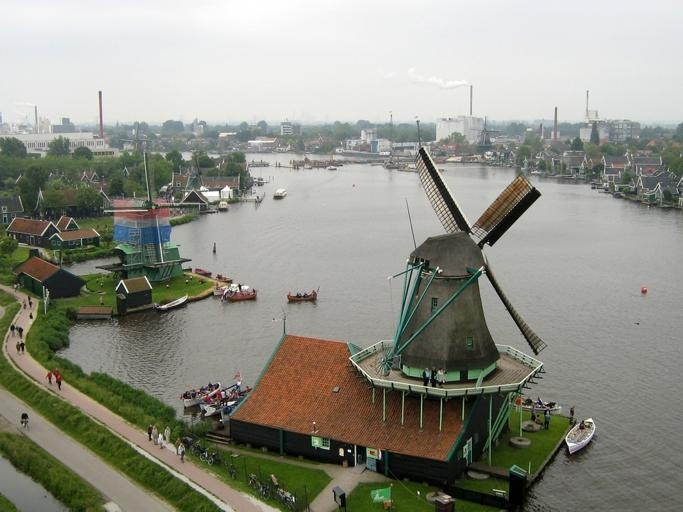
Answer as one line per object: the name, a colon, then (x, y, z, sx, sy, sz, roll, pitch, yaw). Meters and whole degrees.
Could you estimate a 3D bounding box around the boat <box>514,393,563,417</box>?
boat: (13.669, 10.352, 54.101, 2.472, 1.003, 1.489, 5, 18, 7)

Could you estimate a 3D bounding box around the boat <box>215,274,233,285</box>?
boat: (-12.768, 2.648, 85.245, 1.480, 0.609, 1.101, 11, 8, 22)

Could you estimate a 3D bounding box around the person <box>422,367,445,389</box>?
person: (5.580, 7.372, 47.374, 2.403, 0.949, 1.354, 5, -13, 14)

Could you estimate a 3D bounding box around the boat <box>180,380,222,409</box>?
boat: (-9.925, 9.878, 56.498, 1.250, 0.948, 2.995, 24, 29, 27)

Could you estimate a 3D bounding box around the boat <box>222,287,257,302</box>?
boat: (-10.182, 4.036, 79.282, 2.575, 1.092, 1.470, -1, 11, 2)

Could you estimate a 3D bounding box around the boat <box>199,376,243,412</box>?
boat: (-8.387, 10.534, 56.064, 1.720, 1.431, 3.392, 8, 30, 44)

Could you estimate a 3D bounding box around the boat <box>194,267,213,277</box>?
boat: (-15.508, 1.922, 87.879, 1.817, 0.516, 1.072, 20, 7, 34)

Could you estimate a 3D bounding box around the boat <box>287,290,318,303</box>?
boat: (-3.912, 4.198, 78.682, 2.200, 0.978, 1.397, -2, 4, 1)

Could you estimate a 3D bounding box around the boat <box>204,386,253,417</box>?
boat: (-7.975, 10.135, 55.344, 1.945, 1.391, 3.342, 3, 21, 30)
